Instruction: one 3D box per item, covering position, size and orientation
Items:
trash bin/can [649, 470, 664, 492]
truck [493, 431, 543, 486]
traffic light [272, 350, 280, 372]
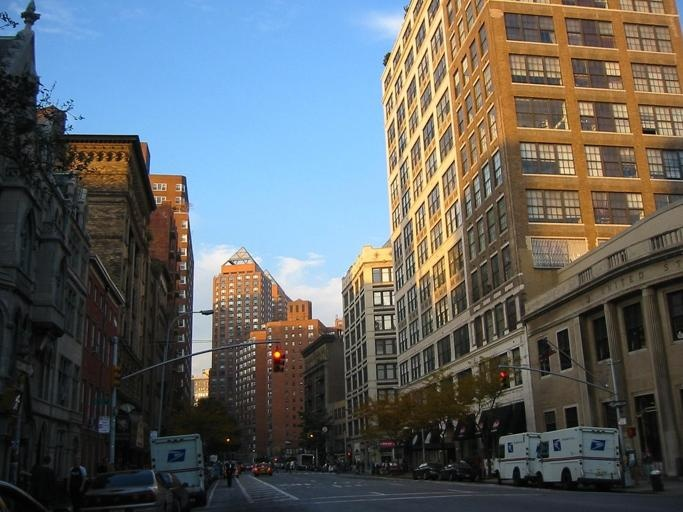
[{"bbox_3d":[16.927,11.992,37.838,0.830,1.038,1.576,-4,-16,14],"label":"trash bin/can"},{"bbox_3d":[11.513,13.299,46.874,2.425,2.518,4.286,6,-20,-14],"label":"truck"},{"bbox_3d":[-3.545,5.845,39.512,0.454,1.227,0.792,0,-19,-7],"label":"traffic light"}]
